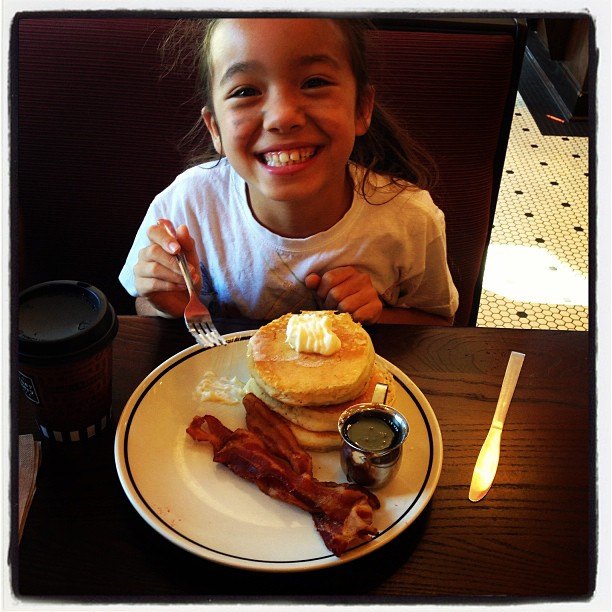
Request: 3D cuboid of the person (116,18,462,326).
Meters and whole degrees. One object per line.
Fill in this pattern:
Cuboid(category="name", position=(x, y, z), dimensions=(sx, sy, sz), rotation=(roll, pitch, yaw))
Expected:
Cuboid(category="person", position=(-0.019, -0.412, 1.818), dimensions=(1.167, 0.882, 0.563), rotation=(1, 36, 2))

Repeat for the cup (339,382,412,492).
Cuboid(category="cup", position=(0.154, 0.272, 1.229), dimensions=(0.146, 0.140, 0.204), rotation=(12, 36, 23))

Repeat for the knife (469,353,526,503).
Cuboid(category="knife", position=(0.480, 0.217, 1.391), dimensions=(0.073, 0.036, 0.598), rotation=(15, 39, 20))
